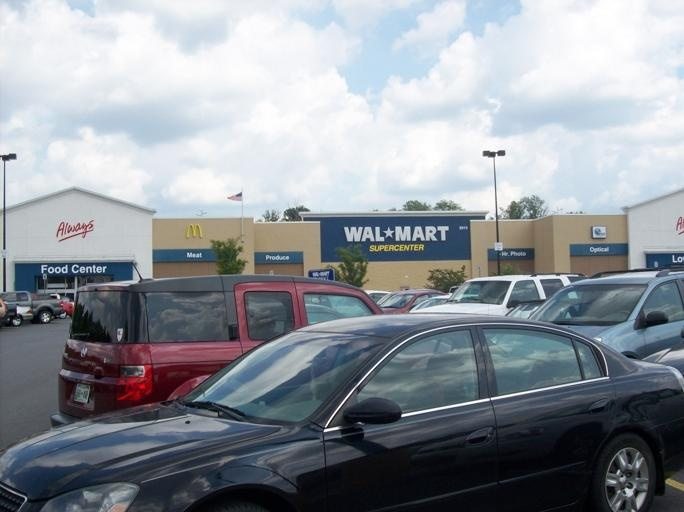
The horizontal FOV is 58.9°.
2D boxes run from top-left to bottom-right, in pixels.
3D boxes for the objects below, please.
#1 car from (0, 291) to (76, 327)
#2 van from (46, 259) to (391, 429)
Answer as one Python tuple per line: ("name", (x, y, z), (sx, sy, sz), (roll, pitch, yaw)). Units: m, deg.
("car", (-17.275, 2.979, 34.319), (3.696, 1.112, 1.951), (5, -5, -42))
("van", (-1.429, 0.802, 7.123), (3.540, 1.426, 1.671), (-3, 1, -26))
